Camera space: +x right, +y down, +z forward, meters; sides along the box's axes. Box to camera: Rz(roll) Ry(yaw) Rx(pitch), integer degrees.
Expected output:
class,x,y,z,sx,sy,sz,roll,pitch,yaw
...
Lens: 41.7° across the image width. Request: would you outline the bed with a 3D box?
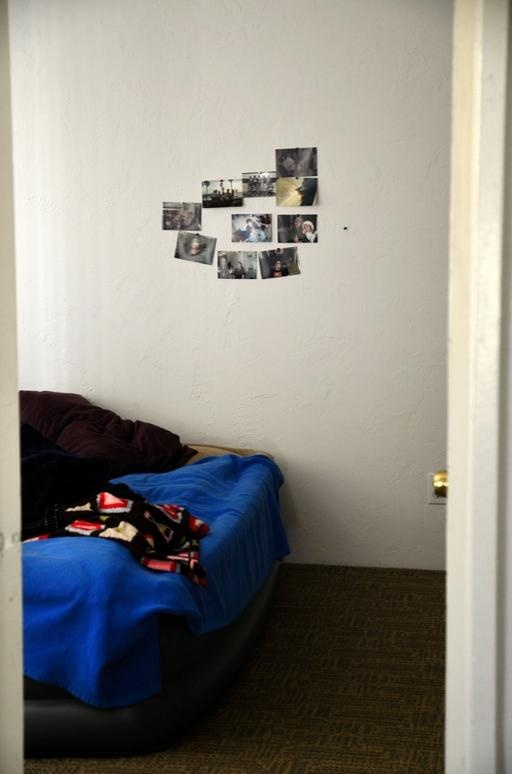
class,x,y,z,sx,sy,sz,roll,pitch,yaw
bed,-0.394,0.616,2.338,0.897,0.434,1.627,-2,1,8
